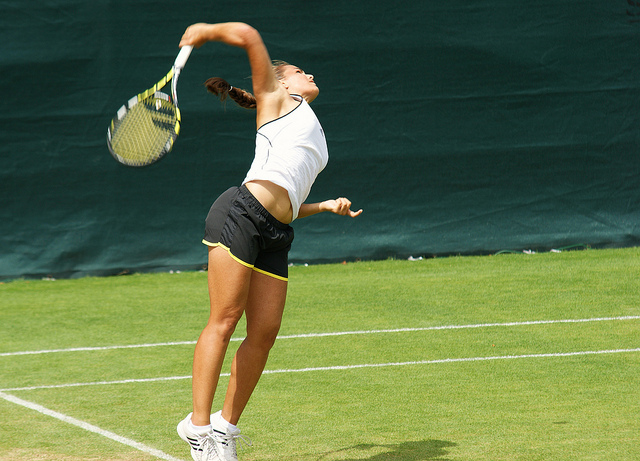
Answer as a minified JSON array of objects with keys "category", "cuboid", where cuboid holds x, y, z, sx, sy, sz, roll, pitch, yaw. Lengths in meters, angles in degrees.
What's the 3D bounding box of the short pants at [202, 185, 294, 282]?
[{"category":"short pants","cuboid":[-0.480,0.008,7.008,0.566,0.527,0.770,7,-15,30]}]
